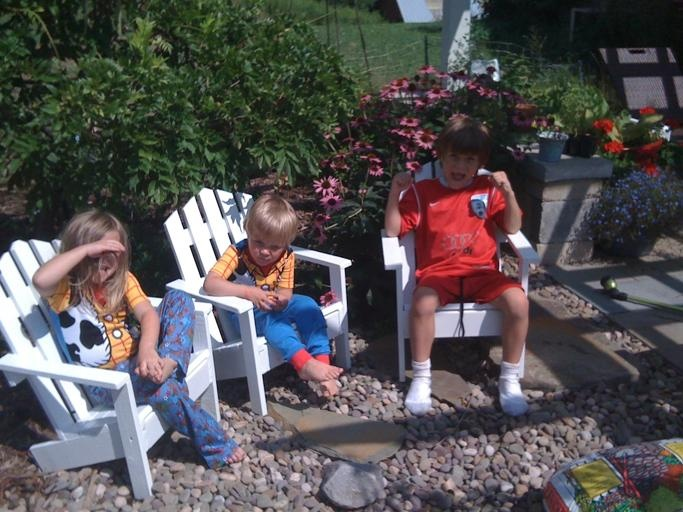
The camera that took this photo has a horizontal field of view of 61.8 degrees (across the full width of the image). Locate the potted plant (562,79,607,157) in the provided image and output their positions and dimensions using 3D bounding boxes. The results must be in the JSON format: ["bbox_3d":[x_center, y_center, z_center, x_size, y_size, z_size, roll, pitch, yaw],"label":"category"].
[{"bbox_3d":[2.103,-1.176,4.935,0.389,0.471,1.035,11,29,19],"label":"potted plant"}]

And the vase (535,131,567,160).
[{"bbox_3d":[1.656,-0.854,4.527,0.218,0.183,0.215,12,23,18],"label":"vase"}]

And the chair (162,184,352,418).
[{"bbox_3d":[-0.523,0.297,3.396,0.795,1.090,0.792,29,39,34],"label":"chair"}]

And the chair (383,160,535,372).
[{"bbox_3d":[0.612,0.194,3.786,1.082,1.511,1.068,-3,33,1],"label":"chair"}]

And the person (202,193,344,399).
[{"bbox_3d":[-0.345,0.218,3.210,0.698,0.793,1.092,-6,28,-34],"label":"person"}]
